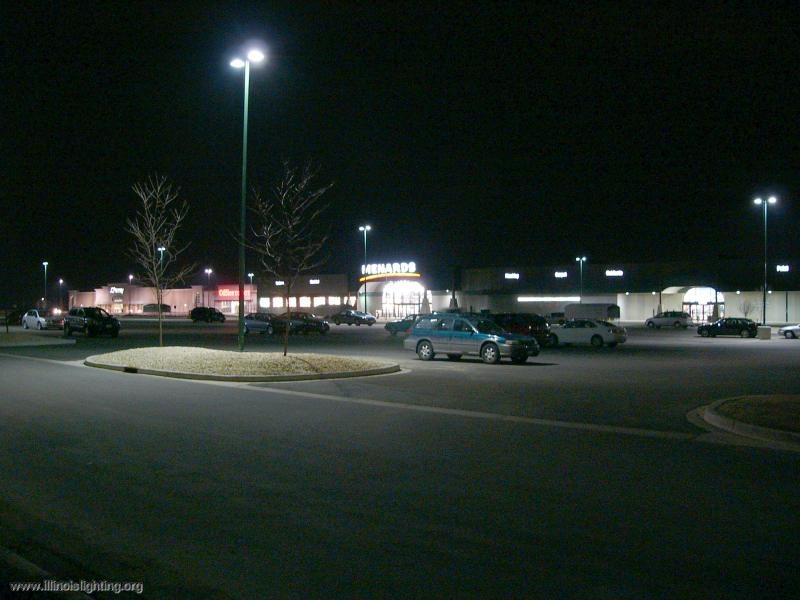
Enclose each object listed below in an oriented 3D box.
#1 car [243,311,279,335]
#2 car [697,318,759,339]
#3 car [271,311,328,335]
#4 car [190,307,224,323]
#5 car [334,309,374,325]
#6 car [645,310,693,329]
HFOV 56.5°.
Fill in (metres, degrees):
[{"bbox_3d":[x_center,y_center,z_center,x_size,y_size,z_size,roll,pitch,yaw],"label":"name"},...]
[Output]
[{"bbox_3d":[-8.823,1.419,46.592,2.360,1.311,1.414,-3,3,13],"label":"car"},{"bbox_3d":[19.731,1.615,44.663,3.004,1.182,1.458,3,2,20],"label":"car"},{"bbox_3d":[-6.270,1.368,45.691,3.014,1.280,1.518,-1,2,5],"label":"car"},{"bbox_3d":[-17.370,1.204,65.497,2.428,1.235,1.586,0,7,16],"label":"car"},{"bbox_3d":[-3.904,1.462,62.645,4.099,1.180,1.353,-3,-3,44],"label":"car"},{"bbox_3d":[21.990,1.589,60.657,3.433,1.524,1.707,4,2,25],"label":"car"}]
